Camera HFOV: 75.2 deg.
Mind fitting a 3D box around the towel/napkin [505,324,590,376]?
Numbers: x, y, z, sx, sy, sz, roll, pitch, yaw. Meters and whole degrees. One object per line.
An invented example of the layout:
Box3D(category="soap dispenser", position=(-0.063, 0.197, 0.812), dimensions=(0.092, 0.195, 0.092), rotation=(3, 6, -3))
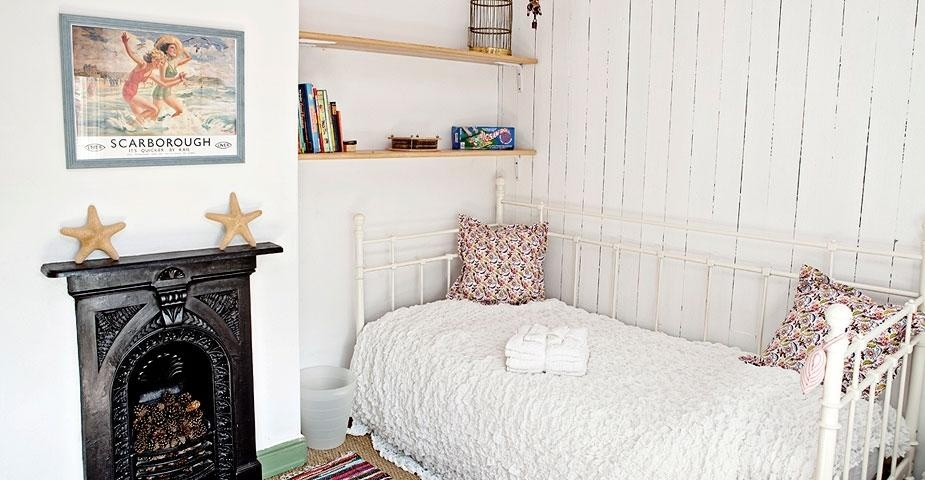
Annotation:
Box3D(category="towel/napkin", position=(0.542, 0.670, 3.774), dimensions=(0.506, 0.189, 0.390), rotation=(2, 17, 11))

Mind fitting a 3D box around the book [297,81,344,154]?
Box3D(category="book", position=(-0.978, -0.805, 3.984), dimensions=(0.382, 0.454, 0.159), rotation=(-18, 24, -42))

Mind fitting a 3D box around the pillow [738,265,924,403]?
Box3D(category="pillow", position=(2.193, 0.565, 3.586), dimensions=(0.820, 0.685, 0.515), rotation=(14, 23, 41))

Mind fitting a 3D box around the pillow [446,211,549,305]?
Box3D(category="pillow", position=(0.267, 0.157, 4.648), dimensions=(0.794, 0.610, 0.286), rotation=(3, 0, -15))

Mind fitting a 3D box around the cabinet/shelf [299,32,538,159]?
Box3D(category="cabinet/shelf", position=(-0.326, -1.020, 4.386), dimensions=(1.935, 0.928, 0.469), rotation=(-10, 20, -28))
